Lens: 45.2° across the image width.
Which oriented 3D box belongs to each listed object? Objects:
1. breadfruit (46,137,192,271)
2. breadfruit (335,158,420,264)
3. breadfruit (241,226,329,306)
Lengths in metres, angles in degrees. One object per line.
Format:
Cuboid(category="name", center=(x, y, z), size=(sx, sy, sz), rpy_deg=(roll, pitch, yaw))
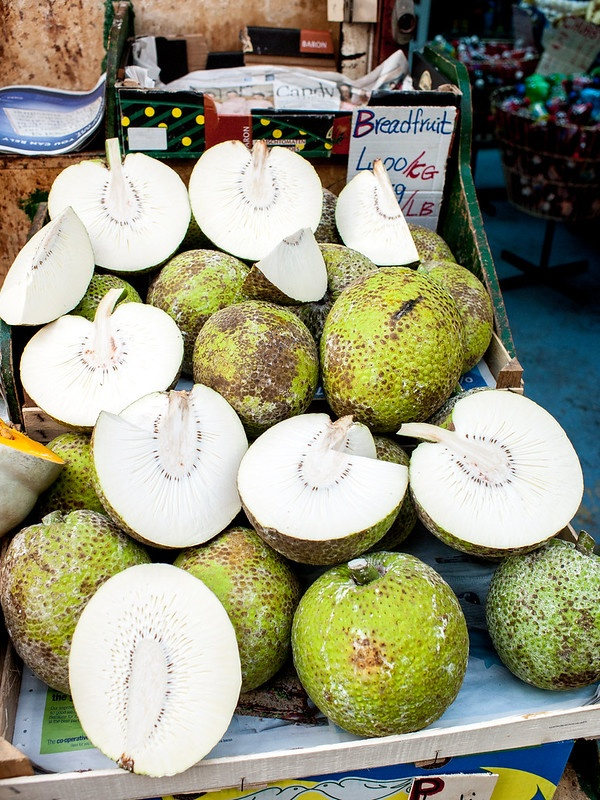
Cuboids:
Cuboid(category="breadfruit", center=(-0.395, -0.445, 1.678), size=(0.337, 0.110, 0.322), rpy_deg=(-10, 76, -9))
Cuboid(category="breadfruit", center=(0.184, -0.446, 1.769), size=(0.160, 0.209, 0.300), rpy_deg=(-12, 44, -15))
Cuboid(category="breadfruit", center=(-0.021, -0.266, 1.464), size=(0.149, 0.157, 0.059), rpy_deg=(-7, 26, -33))
